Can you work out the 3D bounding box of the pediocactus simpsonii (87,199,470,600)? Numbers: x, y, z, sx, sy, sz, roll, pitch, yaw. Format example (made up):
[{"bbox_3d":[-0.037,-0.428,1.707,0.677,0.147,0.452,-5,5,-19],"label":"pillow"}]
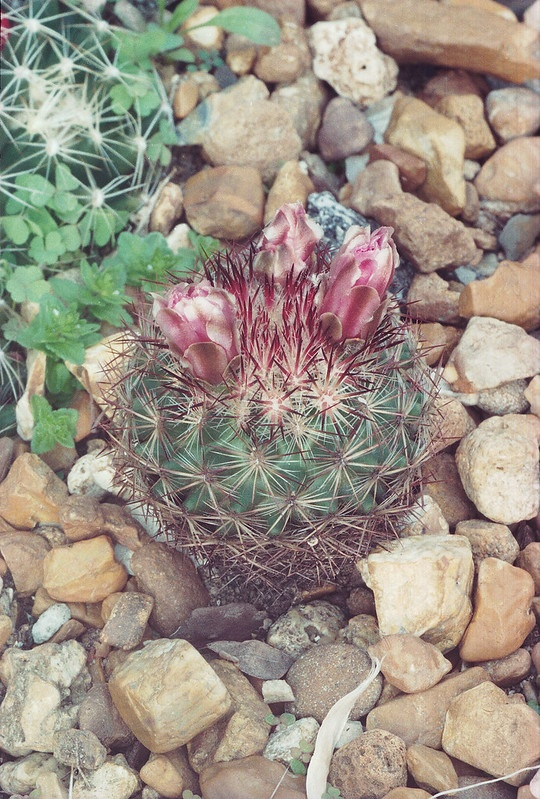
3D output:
[{"bbox_3d":[0.065,0.079,2.290,0.976,0.944,0.955,22,91,-15],"label":"pediocactus simpsonii"}]
